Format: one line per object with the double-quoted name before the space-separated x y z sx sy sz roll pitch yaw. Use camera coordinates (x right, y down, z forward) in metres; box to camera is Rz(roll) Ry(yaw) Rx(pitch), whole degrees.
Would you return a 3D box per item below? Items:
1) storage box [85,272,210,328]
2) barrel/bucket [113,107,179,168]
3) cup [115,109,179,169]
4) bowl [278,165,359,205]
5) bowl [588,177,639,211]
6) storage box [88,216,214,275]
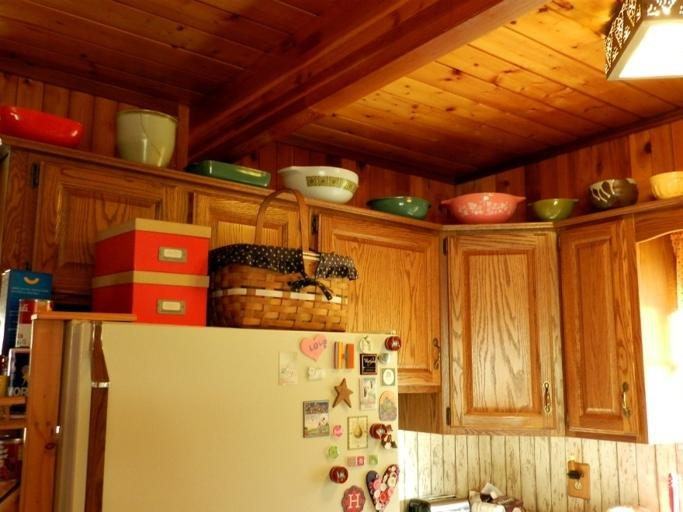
"storage box" -0.616 0.133 1.692 0.383 0.160 0.178 -4 -12 12
"barrel/bucket" -0.701 -0.392 2.045 0.223 0.162 0.205 2 -11 0
"cup" -0.703 -0.416 2.070 0.222 0.162 0.206 3 -10 1
"bowl" -0.089 -0.272 2.321 0.230 0.087 0.190 5 -10 -17
"bowl" 1.200 -0.252 2.482 0.151 0.110 0.166 -4 -11 -1
"storage box" -0.587 0.019 1.713 0.223 0.132 0.219 9 -15 -37
